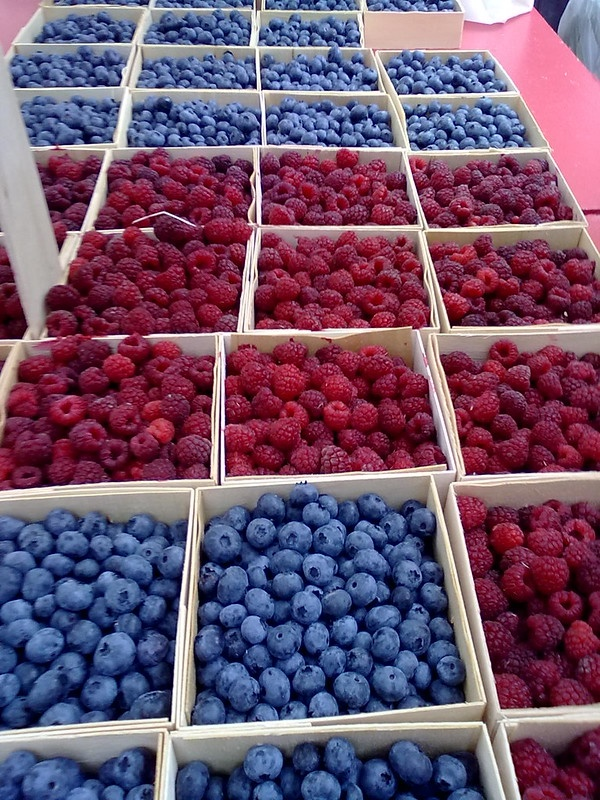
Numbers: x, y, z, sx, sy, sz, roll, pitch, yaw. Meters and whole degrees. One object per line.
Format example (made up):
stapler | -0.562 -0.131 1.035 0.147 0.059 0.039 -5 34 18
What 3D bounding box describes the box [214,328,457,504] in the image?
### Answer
box | 0.083 0.059 2.540 0.684 0.231 0.721 2 54 -7
